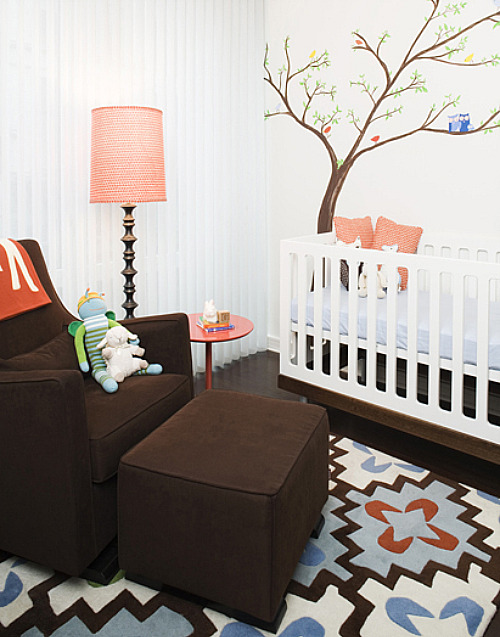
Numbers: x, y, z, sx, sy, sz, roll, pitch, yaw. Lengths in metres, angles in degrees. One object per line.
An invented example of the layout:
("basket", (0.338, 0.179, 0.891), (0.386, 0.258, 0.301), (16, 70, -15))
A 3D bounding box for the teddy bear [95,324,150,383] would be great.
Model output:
("teddy bear", (-0.439, 0.112, 1.906), (0.142, 0.162, 0.094), (-13, 17, -1))

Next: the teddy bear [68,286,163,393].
("teddy bear", (-0.479, 0.060, 1.940), (0.249, 0.308, 0.282), (-13, 15, -42))

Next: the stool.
("stool", (-0.071, 0.429, 1.472), (0.412, 0.347, 0.543), (2, 9, 22))
